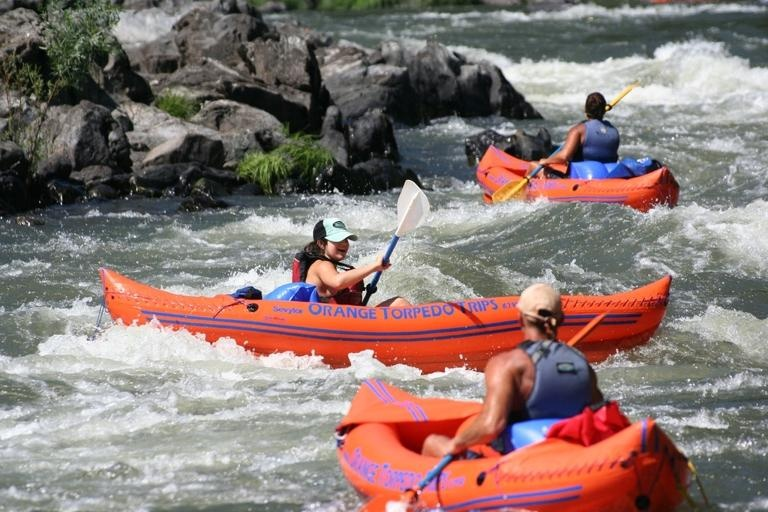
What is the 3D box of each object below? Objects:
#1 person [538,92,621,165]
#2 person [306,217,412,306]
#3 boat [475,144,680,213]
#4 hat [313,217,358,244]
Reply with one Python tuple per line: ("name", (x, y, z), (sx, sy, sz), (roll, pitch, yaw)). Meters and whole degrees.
("person", (3.055, -1.952, 18.327), (1.024, 1.144, 0.457), (0, 11, 6))
("person", (-0.375, 0.232, 14.751), (1.249, 1.356, 1.030), (-3, 8, 35))
("boat", (2.986, -1.192, 18.859), (2.697, 0.859, 1.302), (3, 11, 29))
("hat", (-0.619, -0.328, 14.614), (0.426, 0.218, 0.316), (-8, -4, 30))
